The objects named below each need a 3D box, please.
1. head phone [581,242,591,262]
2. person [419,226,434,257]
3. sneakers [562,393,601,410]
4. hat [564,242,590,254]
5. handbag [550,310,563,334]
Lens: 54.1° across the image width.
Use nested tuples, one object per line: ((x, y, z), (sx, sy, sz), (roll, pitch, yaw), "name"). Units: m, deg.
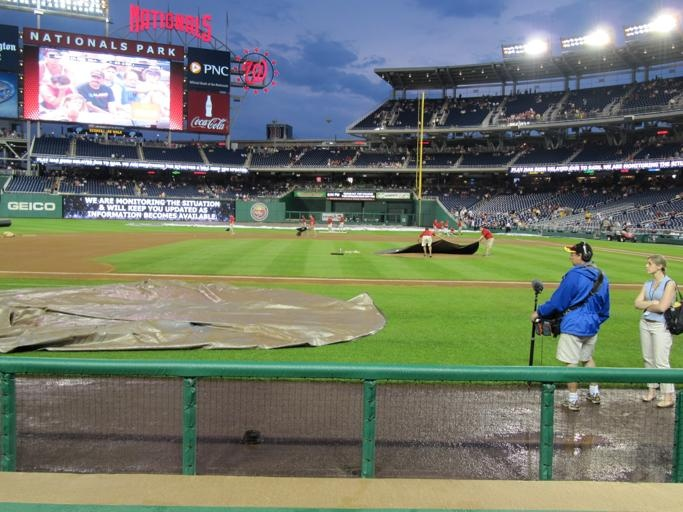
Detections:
((3.554, -0.048, 9.770), (0.130, 0.237, 0.301), (-4, 6, 5), "head phone")
((3.295, -0.523, 26.314), (0.501, 1.085, 1.674), (3, 0, 6), "person")
((3.402, 2.075, 9.457), (0.651, 0.234, 0.217), (0, 3, 16), "sneakers")
((3.503, -0.116, 9.941), (0.288, 0.147, 0.391), (1, 3, -9), "hat")
((3.140, 1.003, 9.795), (0.082, 0.269, 0.193), (8, -6, -40), "handbag")
